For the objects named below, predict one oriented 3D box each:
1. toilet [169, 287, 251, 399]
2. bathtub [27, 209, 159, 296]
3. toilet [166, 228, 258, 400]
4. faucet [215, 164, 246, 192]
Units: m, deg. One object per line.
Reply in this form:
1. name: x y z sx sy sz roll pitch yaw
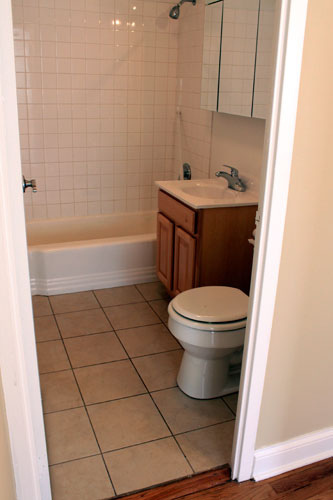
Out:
1. toilet: 0.161 0.451 1.863 0.456 0.444 0.413 -5 16 -21
2. bathtub: -0.577 0.002 3.151 1.039 0.372 0.660 -7 26 -19
3. toilet: 0.248 0.313 1.818 0.435 0.743 0.390 -4 22 -12
4. faucet: 0.407 -0.443 2.451 0.219 0.152 0.122 16 21 -3
